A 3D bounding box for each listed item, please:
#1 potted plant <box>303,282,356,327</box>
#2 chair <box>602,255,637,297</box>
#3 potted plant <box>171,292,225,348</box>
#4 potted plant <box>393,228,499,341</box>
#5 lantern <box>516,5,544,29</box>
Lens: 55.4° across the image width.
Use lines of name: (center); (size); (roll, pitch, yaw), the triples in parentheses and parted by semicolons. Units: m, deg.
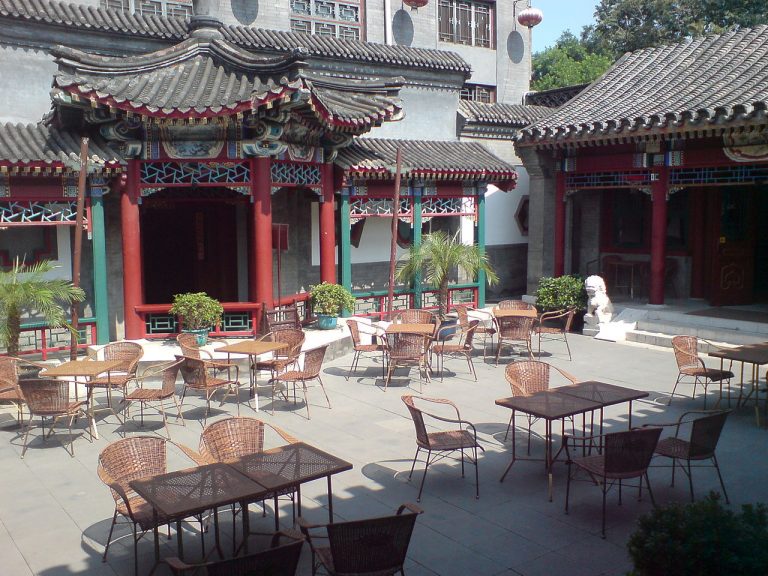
potted plant: (-1.076, 0.253, 14.843); (0.986, 0.984, 0.869); (3, 9, 12)
chair: (5.967, -0.327, 18.782); (0.971, 1.370, 0.722); (0, 6, 22)
potted plant: (-3.423, 0.547, 13.244); (0.985, 1.031, 0.875); (1, 1, 44)
potted plant: (1.408, -0.201, 16.621); (2.064, 2.012, 2.104); (-1, -3, -5)
lantern: (5.936, -10.977, 29.585); (0.844, 0.873, 1.354); (-2, 6, 21)
